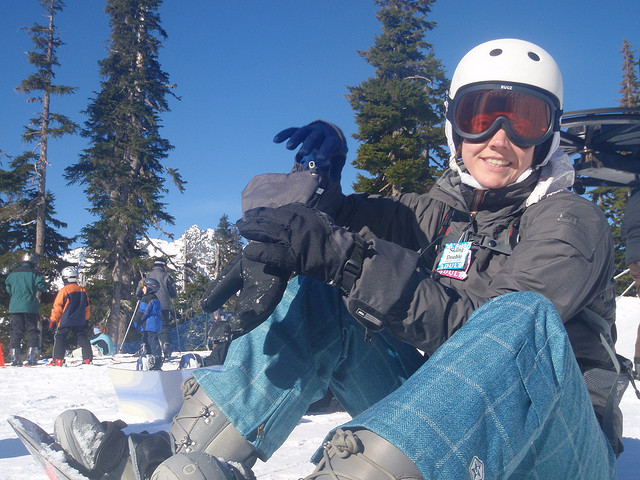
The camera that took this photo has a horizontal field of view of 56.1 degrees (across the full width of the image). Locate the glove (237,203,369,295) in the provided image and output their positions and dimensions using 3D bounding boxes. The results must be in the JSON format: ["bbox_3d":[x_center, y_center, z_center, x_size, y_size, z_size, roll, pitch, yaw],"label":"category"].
[{"bbox_3d":[-0.078,0.008,2.464,0.482,0.330,0.177,19,-25,-2],"label":"glove"}]

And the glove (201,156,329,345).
[{"bbox_3d":[-0.177,0.145,2.672,0.252,0.865,0.540,14,29,-24],"label":"glove"}]

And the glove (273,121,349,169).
[{"bbox_3d":[-0.056,-0.534,3.267,0.391,0.132,0.334,-1,35,33],"label":"glove"}]

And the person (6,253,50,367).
[{"bbox_3d":[-5.032,1.169,10.235,0.604,2.035,1.059,4,-1,-25],"label":"person"}]
